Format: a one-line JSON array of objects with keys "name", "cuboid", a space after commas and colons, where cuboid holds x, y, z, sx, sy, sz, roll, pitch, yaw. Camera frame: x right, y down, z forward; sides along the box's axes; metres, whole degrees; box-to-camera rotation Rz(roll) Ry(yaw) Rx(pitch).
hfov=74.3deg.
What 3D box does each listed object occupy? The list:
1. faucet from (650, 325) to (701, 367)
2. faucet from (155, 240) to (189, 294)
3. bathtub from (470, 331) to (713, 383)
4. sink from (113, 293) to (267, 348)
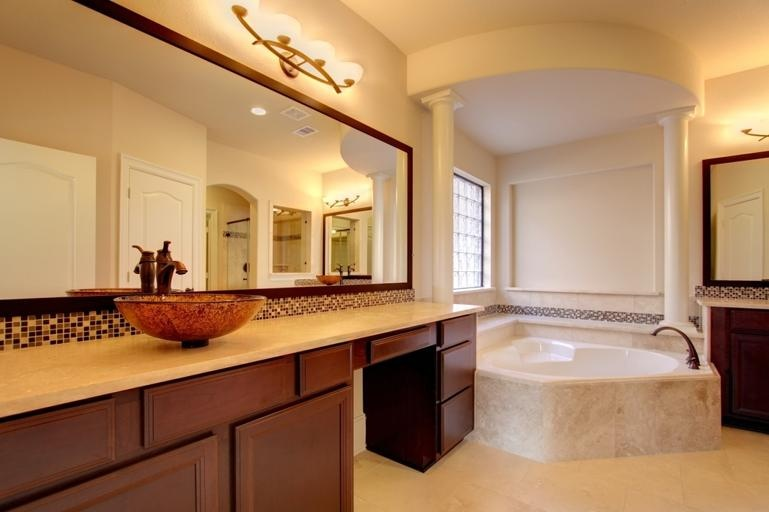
[{"name": "faucet", "cuboid": [2.432, 0.746, 4.213, 0.361, 0.381, 0.247, -7, 14, 22]}, {"name": "faucet", "cuboid": [-1.224, 0.060, 2.910, 0.174, 0.222, 0.249, -3, -1, -23]}, {"name": "bathtub", "cuboid": [2.100, 1.011, 5.314, 1.349, 0.349, 1.757, 21, -13, -19]}, {"name": "sink", "cuboid": [-1.076, 0.378, 2.861, 0.764, 0.281, 0.766, 0, -4, -32]}]
